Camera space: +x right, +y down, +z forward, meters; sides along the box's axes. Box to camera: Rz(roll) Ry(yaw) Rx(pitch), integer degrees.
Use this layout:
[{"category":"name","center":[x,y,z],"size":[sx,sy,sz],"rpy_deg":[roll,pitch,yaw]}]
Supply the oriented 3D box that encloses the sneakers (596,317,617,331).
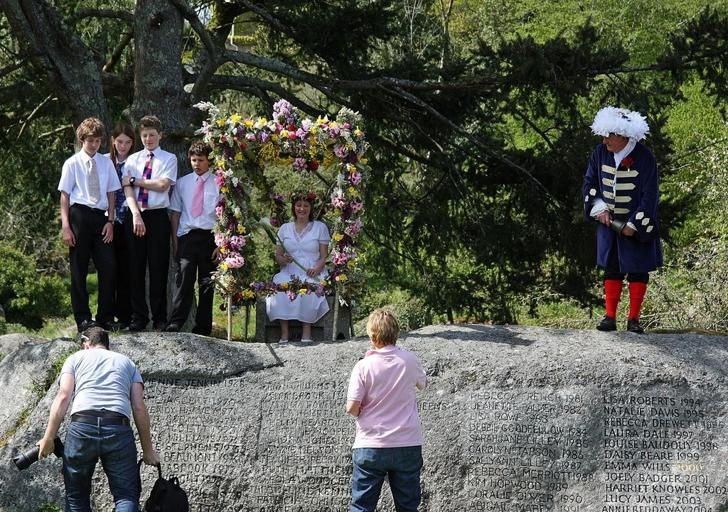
[{"category":"sneakers","center":[3.663,1.045,21.565],"size":[0.152,0.166,0.352],"rpy_deg":[-2,-12,37]}]

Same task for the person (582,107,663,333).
[{"category":"person","center":[3.855,-0.511,21.334],"size":[1.100,2.687,0.764],"rpy_deg":[-2,-1,12]}]

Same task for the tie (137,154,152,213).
[{"category":"tie","center":[-3.306,-1.114,21.557],"size":[0.250,0.825,0.052],"rpy_deg":[-1,-1,-10]}]

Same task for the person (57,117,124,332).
[{"category":"person","center":[-4.110,-0.447,21.403],"size":[0.887,3.151,0.547],"rpy_deg":[-1,-1,-1]}]

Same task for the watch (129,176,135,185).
[{"category":"watch","center":[-3.507,-1.104,21.549],"size":[0.074,0.119,0.107],"rpy_deg":[10,-2,0]}]

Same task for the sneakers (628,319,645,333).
[{"category":"sneakers","center":[4.076,1.093,21.585],"size":[0.126,0.145,0.355],"rpy_deg":[0,-7,-2]}]

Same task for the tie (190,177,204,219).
[{"category":"tie","center":[-2.540,-0.876,21.760],"size":[0.214,0.620,0.088],"rpy_deg":[-1,-1,-6]}]
